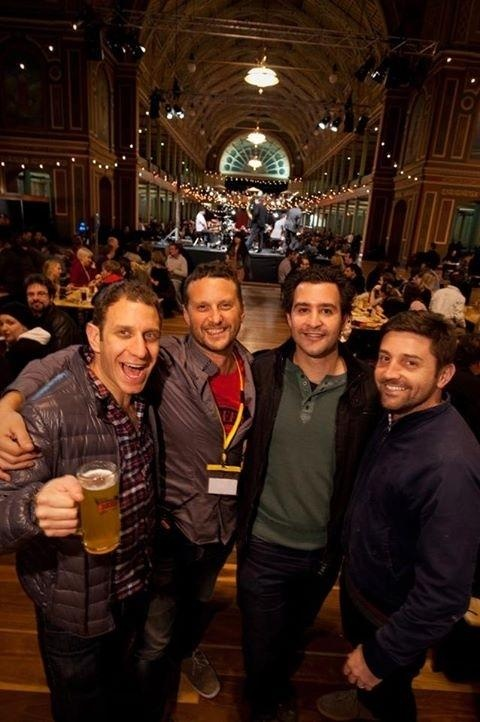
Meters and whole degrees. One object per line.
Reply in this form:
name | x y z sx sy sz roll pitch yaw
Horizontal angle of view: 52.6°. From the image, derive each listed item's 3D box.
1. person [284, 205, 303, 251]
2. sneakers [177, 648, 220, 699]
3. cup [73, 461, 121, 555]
person | 1.744 -4.462 16.134 0.527 1.584 0.490 28 34 32
sneakers | -0.160 1.278 1.974 0.094 0.074 0.186 -9 11 -26
cup | -0.333 0.359 1.154 0.087 0.192 0.061 -1 17 -18
